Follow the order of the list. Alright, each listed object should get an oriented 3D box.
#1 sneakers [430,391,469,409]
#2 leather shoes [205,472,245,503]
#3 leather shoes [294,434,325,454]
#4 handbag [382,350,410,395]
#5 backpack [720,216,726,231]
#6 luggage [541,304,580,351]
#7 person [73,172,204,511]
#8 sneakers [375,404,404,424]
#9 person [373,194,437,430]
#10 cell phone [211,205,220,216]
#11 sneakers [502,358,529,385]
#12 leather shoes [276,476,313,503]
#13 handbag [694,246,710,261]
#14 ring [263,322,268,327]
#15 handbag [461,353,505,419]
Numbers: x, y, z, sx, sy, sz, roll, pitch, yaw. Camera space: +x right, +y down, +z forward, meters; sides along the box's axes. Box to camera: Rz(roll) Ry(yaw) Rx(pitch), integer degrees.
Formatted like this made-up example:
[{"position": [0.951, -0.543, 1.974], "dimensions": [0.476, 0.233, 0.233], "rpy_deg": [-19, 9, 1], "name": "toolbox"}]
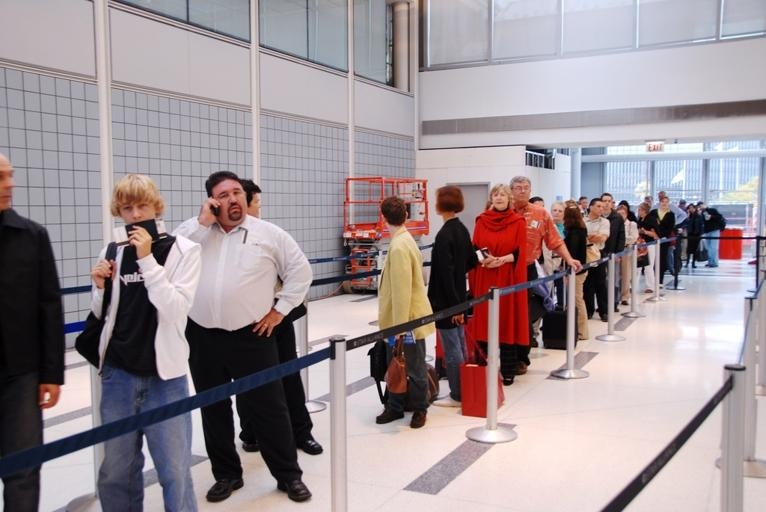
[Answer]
[{"position": [0.675, 1.419, 5.436], "dimensions": [0.309, 0.118, 0.102], "rpy_deg": [3, -7, 2], "name": "sneakers"}, {"position": [-1.110, 1.613, 3.891], "dimensions": [0.098, 0.113, 0.263], "rpy_deg": [2, -4, 21], "name": "leather shoes"}, {"position": [-0.595, 1.498, 4.472], "dimensions": [0.257, 0.097, 0.101], "rpy_deg": [0, 2, 43], "name": "leather shoes"}, {"position": [0.115, 1.006, 4.809], "dimensions": [0.203, 0.411, 0.126], "rpy_deg": [-2, 8, 1], "name": "handbag"}, {"position": [9.524, -0.904, 15.561], "dimensions": [0.286, 0.378, 0.117], "rpy_deg": [1, -2, -13], "name": "backpack"}, {"position": [2.314, 0.868, 7.468], "dimensions": [0.307, 0.550, 0.427], "rpy_deg": [1, 20, 11], "name": "luggage"}, {"position": [-1.359, 0.521, 3.091], "dimensions": [0.656, 1.927, 0.339], "rpy_deg": [-2, 8, -2], "name": "person"}, {"position": [0.058, 1.438, 5.118], "dimensions": [0.295, 0.162, 0.106], "rpy_deg": [3, -5, -29], "name": "sneakers"}, {"position": [0.187, 0.506, 4.850], "dimensions": [0.553, 2.031, 0.566], "rpy_deg": [-2, 8, -4], "name": "person"}, {"position": [-1.108, -0.298, 3.661], "dimensions": [0.062, 0.061, 0.019], "rpy_deg": [-4, 8, -12], "name": "cell phone"}, {"position": [1.494, 1.239, 6.112], "dimensions": [0.157, 0.195, 0.482], "rpy_deg": [2, 12, 29], "name": "sneakers"}, {"position": [-0.607, 1.600, 3.810], "dimensions": [0.111, 0.108, 0.285], "rpy_deg": [3, -4, -38], "name": "leather shoes"}, {"position": [9.303, -0.100, 16.139], "dimensions": [0.379, 0.446, 0.256], "rpy_deg": [-6, 12, -22], "name": "handbag"}, {"position": [-0.788, 0.450, 3.704], "dimensions": [0.029, 0.036, 0.014], "rpy_deg": [0, -2, -6], "name": "ring"}, {"position": [0.952, 1.187, 5.308], "dimensions": [0.439, 0.735, 0.797], "rpy_deg": [-4, 0, 8], "name": "handbag"}]
